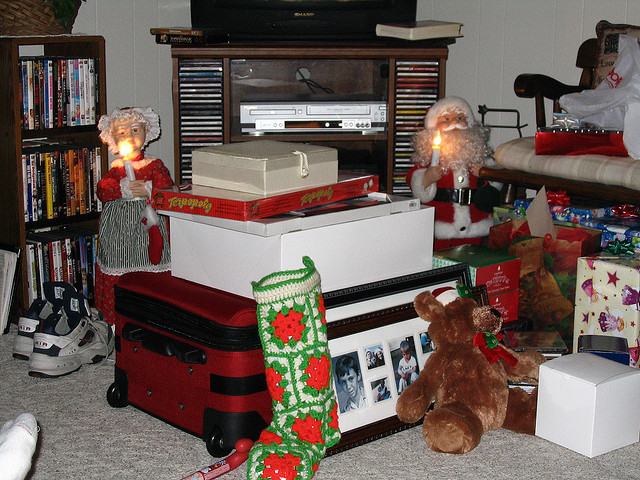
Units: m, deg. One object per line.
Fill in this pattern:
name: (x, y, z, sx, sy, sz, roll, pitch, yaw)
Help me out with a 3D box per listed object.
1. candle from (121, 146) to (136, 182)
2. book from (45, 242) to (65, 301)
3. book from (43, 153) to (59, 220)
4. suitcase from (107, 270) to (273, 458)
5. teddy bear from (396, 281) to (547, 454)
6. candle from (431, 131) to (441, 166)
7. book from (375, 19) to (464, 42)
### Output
candle: (-0.723, -0.286, 2.098, 0.039, 0.129, 0.112, -5, 14, -19)
book: (-1.062, 0.118, 2.227, 0.053, 0.144, 0.155, -10, 25, -21)
book: (-1.131, -0.227, 2.327, 0.071, 0.266, 0.025, -10, 16, -36)
suitcase: (-0.386, 0.326, 1.630, 0.549, 0.396, 0.246, 10, 11, 35)
teddy bear: (0.431, 0.333, 1.545, 0.426, 0.429, 0.279, -10, 3, -12)
candle: (0.444, -0.347, 2.146, 0.027, 0.124, 0.073, 1, 14, 8)
book: (0.458, -1.033, 2.759, 0.287, 0.122, 0.387, -13, 19, -40)
